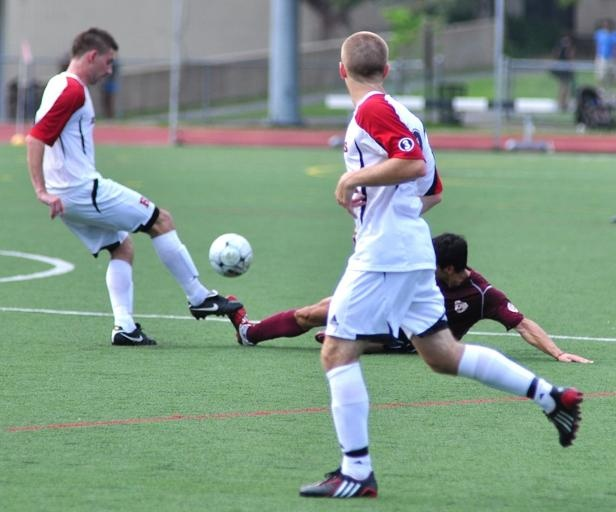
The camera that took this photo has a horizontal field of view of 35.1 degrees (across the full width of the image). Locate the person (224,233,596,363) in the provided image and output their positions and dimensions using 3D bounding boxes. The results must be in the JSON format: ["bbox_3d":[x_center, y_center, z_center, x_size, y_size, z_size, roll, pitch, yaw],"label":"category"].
[{"bbox_3d":[0.674,0.265,6.061,2.305,0.702,0.437,1,-18,-1],"label":"person"}]

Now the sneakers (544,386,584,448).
[{"bbox_3d":[1.143,0.712,4.305,0.159,0.296,0.109,-10,21,-5],"label":"sneakers"}]

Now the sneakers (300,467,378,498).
[{"bbox_3d":[0.152,0.990,4.239,0.371,0.135,0.121,0,-12,3],"label":"sneakers"}]

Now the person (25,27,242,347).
[{"bbox_3d":[-1.245,-0.451,6.373,1.101,2.058,0.595,-3,13,-14],"label":"person"}]

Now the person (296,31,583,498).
[{"bbox_3d":[0.602,0.076,4.419,1.390,1.979,0.994,1,-1,5],"label":"person"}]

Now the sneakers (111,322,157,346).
[{"bbox_3d":[-1.149,0.522,6.396,0.343,0.140,0.110,3,-5,-20],"label":"sneakers"}]

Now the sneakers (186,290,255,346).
[{"bbox_3d":[-0.538,0.429,6.501,0.559,0.177,0.276,2,-31,16],"label":"sneakers"}]

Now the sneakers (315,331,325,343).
[{"bbox_3d":[0.082,0.533,6.234,0.087,0.037,0.111,4,-20,1],"label":"sneakers"}]

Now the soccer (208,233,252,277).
[{"bbox_3d":[-0.524,-0.011,6.747,0.307,0.278,0.294,-1,-1,9],"label":"soccer"}]
